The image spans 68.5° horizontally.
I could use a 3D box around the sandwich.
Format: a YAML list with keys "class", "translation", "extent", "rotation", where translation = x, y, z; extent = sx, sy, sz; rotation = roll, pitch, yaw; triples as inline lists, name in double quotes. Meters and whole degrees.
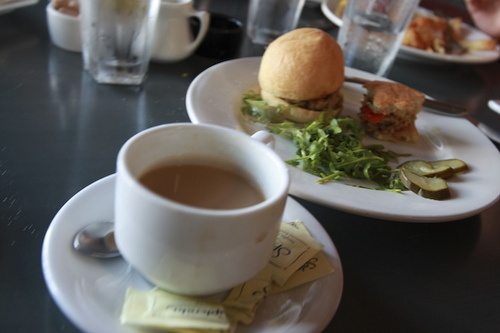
- class: "sandwich"
  translation: [0.411, -0.157, 1.087]
  extent: [0.142, 0.124, 0.180]
  rotation: [5, 22, 4]

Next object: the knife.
- class: "knife"
  translation: [0.467, -0.212, 1.119]
  extent: [0.344, 0.035, 0.037]
  rotation: [26, 55, 15]

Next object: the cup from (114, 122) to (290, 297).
- class: "cup"
  translation: [-0.065, 0.059, 0.541]
  extent: [0.215, 0.179, 0.270]
  rotation: [24, 31, 16]

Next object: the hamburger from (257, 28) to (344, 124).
- class: "hamburger"
  translation: [0.152, -0.288, 1.091]
  extent: [0.265, 0.224, 0.290]
  rotation: [12, 38, 21]

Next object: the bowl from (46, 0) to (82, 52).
- class: "bowl"
  translation: [-0.483, -0.362, 0.953]
  extent: [0.118, 0.093, 0.064]
  rotation: [36, 50, 21]
